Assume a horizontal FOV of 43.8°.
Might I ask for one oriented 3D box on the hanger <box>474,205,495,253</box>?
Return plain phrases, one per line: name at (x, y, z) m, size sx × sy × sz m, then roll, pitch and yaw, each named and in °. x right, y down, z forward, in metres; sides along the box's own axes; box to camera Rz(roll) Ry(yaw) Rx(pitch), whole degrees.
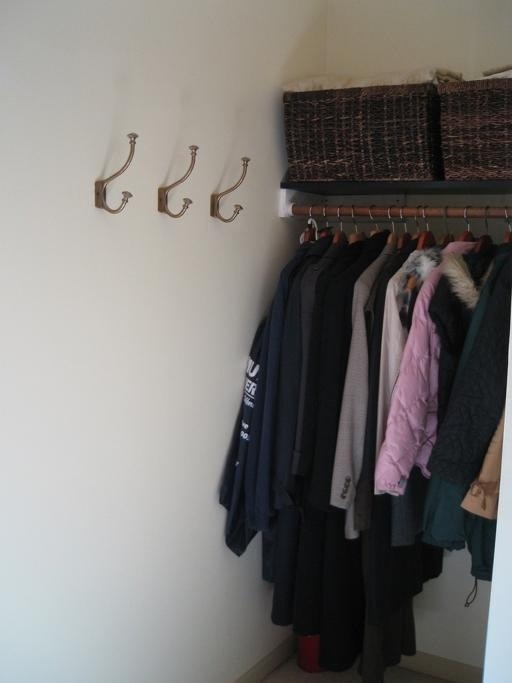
hanger at (0.683, -0.337, 1.901) m, size 0.026 × 0.239 × 0.163 m, roll 4°, pitch 23°, yaw 31°
